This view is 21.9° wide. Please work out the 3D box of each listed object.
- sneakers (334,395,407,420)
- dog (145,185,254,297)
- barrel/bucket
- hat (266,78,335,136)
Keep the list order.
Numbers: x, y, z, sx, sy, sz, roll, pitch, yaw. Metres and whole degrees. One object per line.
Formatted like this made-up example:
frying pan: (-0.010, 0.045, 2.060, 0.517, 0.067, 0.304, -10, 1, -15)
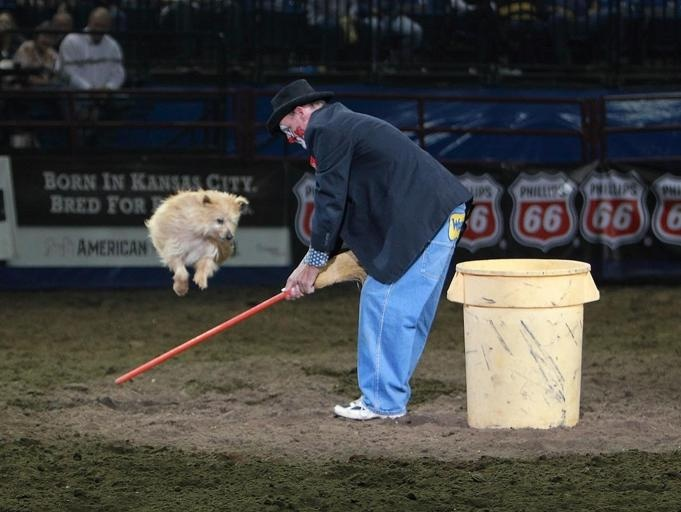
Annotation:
sneakers: (0.267, 1.358, 15.673, 0.661, 0.262, 0.229, 5, -3, 0)
dog: (-1.436, -0.132, 16.942, 0.817, 0.918, 1.532, 14, -2, -26)
barrel/bucket: (1.627, 0.744, 15.845, 1.321, 1.486, 1.211, -1, 4, 0)
hat: (-0.403, -1.285, 15.483, 0.504, 0.196, 0.440, -38, -2, 24)
